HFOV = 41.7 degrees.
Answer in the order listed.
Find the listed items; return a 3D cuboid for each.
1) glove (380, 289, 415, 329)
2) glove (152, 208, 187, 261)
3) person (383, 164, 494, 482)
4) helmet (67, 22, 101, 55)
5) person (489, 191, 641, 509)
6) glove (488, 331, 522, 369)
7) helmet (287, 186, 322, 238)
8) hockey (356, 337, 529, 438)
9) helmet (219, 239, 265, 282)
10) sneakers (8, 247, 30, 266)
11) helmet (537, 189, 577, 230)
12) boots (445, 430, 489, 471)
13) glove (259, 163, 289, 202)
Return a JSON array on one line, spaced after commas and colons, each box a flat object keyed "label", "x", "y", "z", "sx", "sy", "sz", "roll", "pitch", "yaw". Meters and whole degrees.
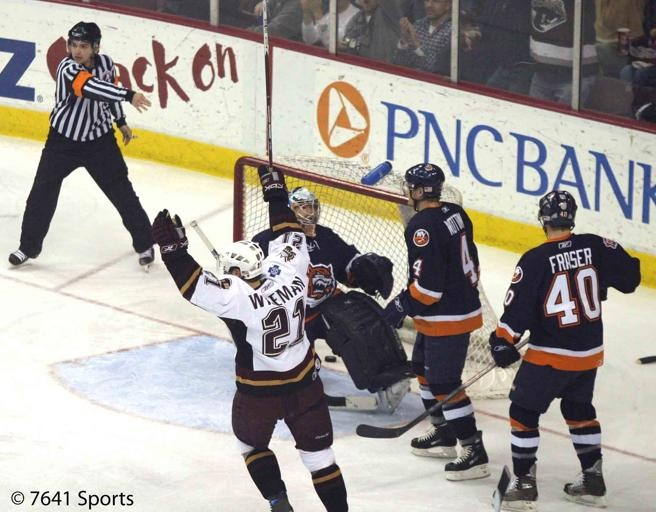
[{"label": "glove", "x": 0.373, "y": 0.290, "z": 4.602, "sx": 0.134, "sy": 0.237, "sz": 0.241, "roll": 4, "pitch": 7, "yaw": -2}, {"label": "glove", "x": -0.708, "y": -0.098, "z": 3.782, "sx": 0.148, "sy": 0.212, "sz": 0.060, "roll": -11, "pitch": 4, "yaw": 0}, {"label": "person", "x": 0.632, "y": 0.348, "z": 4.643, "sx": 0.639, "sy": 1.658, "sz": 0.425, "roll": 5, "pitch": 7, "yaw": 7}, {"label": "helmet", "x": -1.773, "y": -1.592, "z": 6.235, "sx": 0.242, "sy": 0.222, "sz": 0.234, "roll": 0, "pitch": 8, "yaw": -29}, {"label": "person", "x": 1.172, "y": 0.475, "z": 4.283, "sx": 0.694, "sy": 1.576, "sz": 0.288, "roll": 2, "pitch": 8, "yaw": -17}, {"label": "glove", "x": 0.881, "y": 0.474, "z": 4.292, "sx": 0.144, "sy": 0.179, "sz": 0.067, "roll": -28, "pitch": 1, "yaw": -2}, {"label": "helmet", "x": -0.135, "y": -0.265, "z": 5.112, "sx": 0.214, "sy": 0.261, "sz": 0.268, "roll": -10, "pitch": 16, "yaw": -28}, {"label": "hockey", "x": 0.619, "y": 0.762, "z": 4.863, "sx": 1.004, "sy": 0.143, "sz": 0.107, "roll": -34, "pitch": 15, "yaw": 16}, {"label": "helmet", "x": -0.398, "y": 0.023, "z": 3.991, "sx": 0.200, "sy": 0.160, "sz": 0.160, "roll": 22, "pitch": 38, "yaw": 26}, {"label": "sneakers", "x": -2.383, "y": 0.015, "z": 6.578, "sx": 0.097, "sy": 0.087, "sz": 0.170, "roll": 28, "pitch": -8, "yaw": -10}, {"label": "helmet", "x": 1.128, "y": -0.228, "z": 4.252, "sx": 0.163, "sy": 0.192, "sz": 0.200, "roll": 7, "pitch": 11, "yaw": 5}, {"label": "boots", "x": 0.737, "y": 1.069, "z": 4.598, "sx": 0.266, "sy": 0.234, "sz": 0.107, "roll": -5, "pitch": -1, "yaw": -23}, {"label": "glove", "x": -0.299, "y": -0.384, "z": 4.602, "sx": 0.148, "sy": 0.202, "sz": 0.074, "roll": -5, "pitch": -29, "yaw": -15}]
